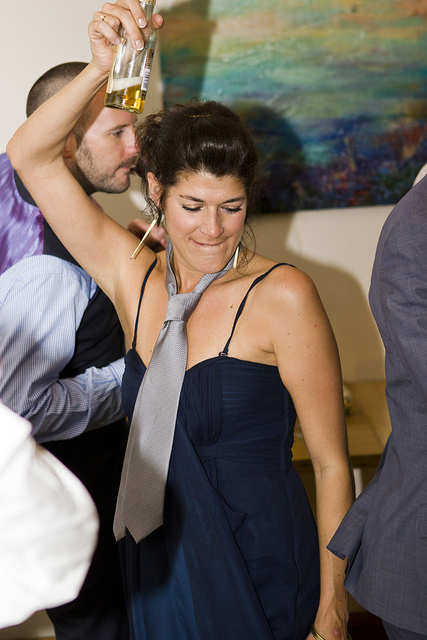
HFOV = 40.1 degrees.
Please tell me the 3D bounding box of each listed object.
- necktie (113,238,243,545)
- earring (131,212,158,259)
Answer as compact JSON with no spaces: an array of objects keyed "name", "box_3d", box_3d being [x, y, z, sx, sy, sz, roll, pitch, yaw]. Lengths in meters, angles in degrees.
[{"name":"necktie","box_3d":[-0.117,0.147,1.159,0.165,0.025,0.524,7,76,7]},{"name":"earring","box_3d":[-0.173,-0.192,1.395,0.014,0.136,0.020,33,19,5]}]
